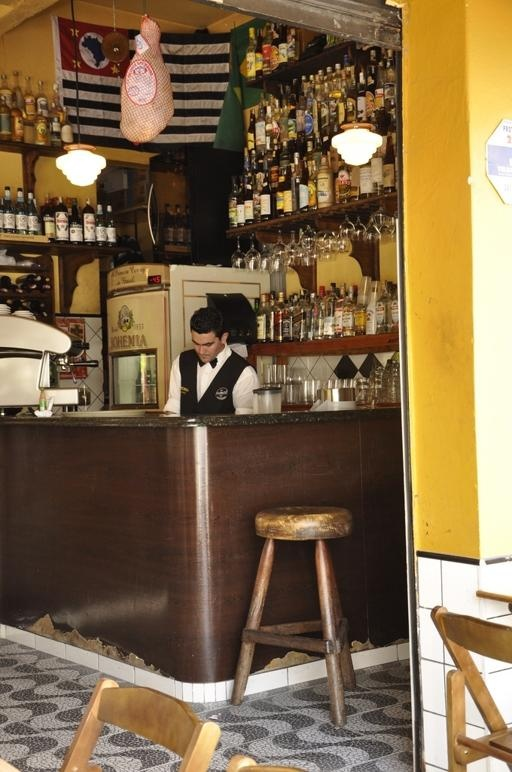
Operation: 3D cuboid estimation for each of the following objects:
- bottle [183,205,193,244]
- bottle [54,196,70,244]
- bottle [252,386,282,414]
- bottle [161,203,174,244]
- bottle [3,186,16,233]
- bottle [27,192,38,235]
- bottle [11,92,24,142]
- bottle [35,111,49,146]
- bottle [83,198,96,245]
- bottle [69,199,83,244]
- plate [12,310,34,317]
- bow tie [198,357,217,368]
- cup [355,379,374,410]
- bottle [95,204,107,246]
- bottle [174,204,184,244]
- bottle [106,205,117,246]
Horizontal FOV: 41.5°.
[{"bbox_3d":[-0.559,-1.308,5.502,0.060,0.285,0.089,0,-6,-8],"label":"bottle"},{"bbox_3d":[-1.714,-1.447,5.918,0.136,0.393,0.121,2,-7,-28],"label":"bottle"},{"bbox_3d":[0.052,0.066,3.407,0.134,0.149,0.113,-1,2,-4],"label":"bottle"},{"bbox_3d":[-0.730,-1.318,5.517,0.096,0.311,0.036,1,-7,-18],"label":"bottle"},{"bbox_3d":[-2.103,-1.472,5.712,0.109,0.423,0.191,2,-7,-24],"label":"bottle"},{"bbox_3d":[-1.933,-1.492,5.836,0.119,0.444,0.214,1,-7,-20],"label":"bottle"},{"bbox_3d":[-2.059,-2.312,5.791,0.102,0.474,0.161,1,-7,-20],"label":"bottle"},{"bbox_3d":[-1.843,-2.183,5.768,0.109,0.293,0.077,1,-7,-21],"label":"bottle"},{"bbox_3d":[-1.513,-1.463,6.091,0.142,0.396,0.165,4,-8,-38],"label":"bottle"},{"bbox_3d":[-1.620,-1.446,6.033,0.119,0.405,0.164,1,-7,-17],"label":"bottle"},{"bbox_3d":[-1.920,-0.591,5.515,0.184,0.067,0.193,1,3,-3],"label":"plate"},{"bbox_3d":[-0.325,-0.145,4.372,0.139,0.059,0.058,-5,-7,26],"label":"bow tie"},{"bbox_3d":[0.670,0.056,4.187,0.121,0.242,0.128,1,-7,0],"label":"cup"},{"bbox_3d":[-1.414,-1.472,6.124,0.088,0.400,0.143,1,-7,-15],"label":"bottle"},{"bbox_3d":[-0.629,-1.317,5.522,0.074,0.292,0.060,0,-6,-9],"label":"bottle"},{"bbox_3d":[-1.345,-1.481,6.192,0.084,0.412,0.172,1,-7,-15],"label":"bottle"}]
